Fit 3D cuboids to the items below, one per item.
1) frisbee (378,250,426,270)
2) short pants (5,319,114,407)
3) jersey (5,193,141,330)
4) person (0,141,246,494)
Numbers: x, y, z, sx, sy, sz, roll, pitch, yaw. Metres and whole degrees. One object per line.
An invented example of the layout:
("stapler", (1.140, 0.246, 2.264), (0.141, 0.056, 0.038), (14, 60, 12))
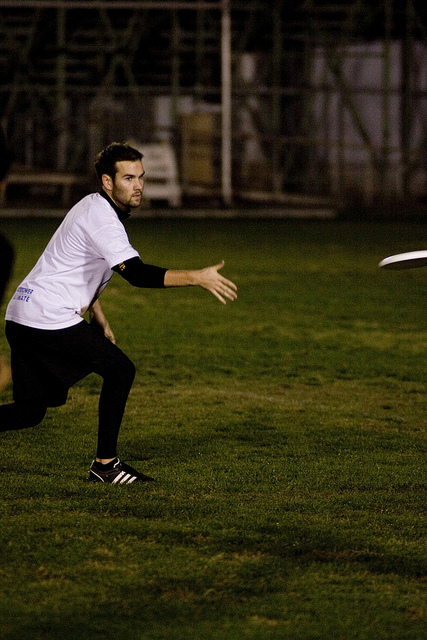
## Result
("frisbee", (0.611, -0.189, 3.952), (0.136, 0.064, 0.303), (3, 5, 4))
("short pants", (-0.529, 0.153, 4.141), (0.358, 0.305, 0.148), (2, 6, -7))
("jersey", (-0.477, -0.191, 4.083), (0.414, 0.450, 0.336), (1, 5, -10))
("person", (-0.375, -0.018, 4.123), (0.753, 1.135, 0.294), (4, 6, 14))
